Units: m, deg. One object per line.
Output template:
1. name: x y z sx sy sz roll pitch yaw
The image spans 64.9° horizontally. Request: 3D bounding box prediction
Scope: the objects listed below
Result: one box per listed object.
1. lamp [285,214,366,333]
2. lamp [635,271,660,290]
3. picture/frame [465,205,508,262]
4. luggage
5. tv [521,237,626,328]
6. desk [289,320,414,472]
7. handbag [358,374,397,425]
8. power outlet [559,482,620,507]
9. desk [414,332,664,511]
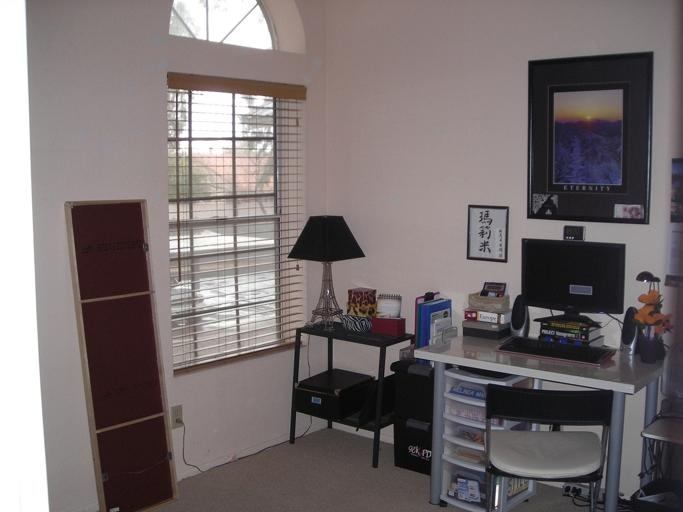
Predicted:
1. lamp: -0.071 0.112 4.102 0.476 0.841 0.563 2 6 17
2. lamp: 1.785 0.143 3.138 0.142 0.087 0.096 0 4 -24
3. picture/frame: 1.005 -0.157 3.680 0.347 0.493 0.024 2 3 35
4. luggage: -0.001 1.022 4.010 0.377 0.206 0.386 2 3 39
5. tv: 1.414 0.148 3.231 0.495 0.404 0.150 2 3 32
6. desk: -0.026 0.905 4.216 1.025 1.282 0.743 7 9 31
7. handbag: 0.255 1.047 3.877 0.081 0.313 0.306 6 10 38
8. power outlet: 1.514 1.460 3.336 0.225 0.074 0.173 0 3 23
9. desk: 1.155 0.579 3.095 1.209 0.965 0.824 5 6 40
